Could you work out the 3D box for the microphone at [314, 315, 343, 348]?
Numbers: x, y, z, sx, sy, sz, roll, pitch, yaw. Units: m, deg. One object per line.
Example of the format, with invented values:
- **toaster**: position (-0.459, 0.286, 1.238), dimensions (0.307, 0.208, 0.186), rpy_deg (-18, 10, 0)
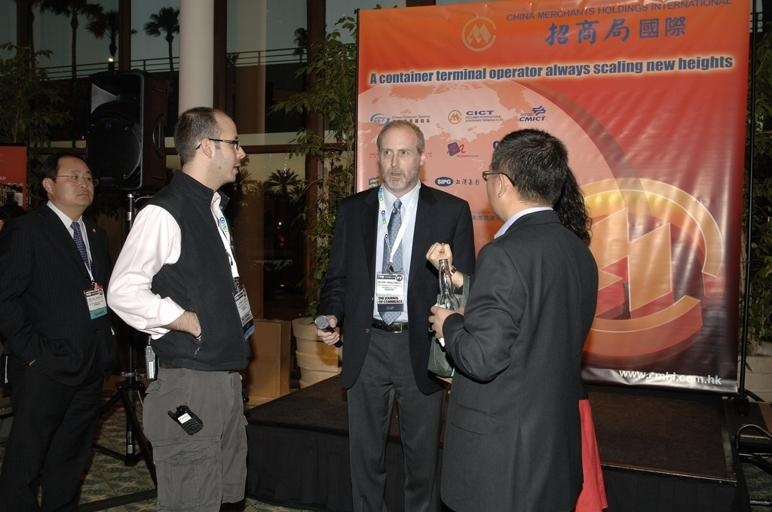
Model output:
- **microphone**: position (-0.330, 0.451, 3.445), dimensions (0.106, 0.220, 0.195), rpy_deg (2, 8, 15)
